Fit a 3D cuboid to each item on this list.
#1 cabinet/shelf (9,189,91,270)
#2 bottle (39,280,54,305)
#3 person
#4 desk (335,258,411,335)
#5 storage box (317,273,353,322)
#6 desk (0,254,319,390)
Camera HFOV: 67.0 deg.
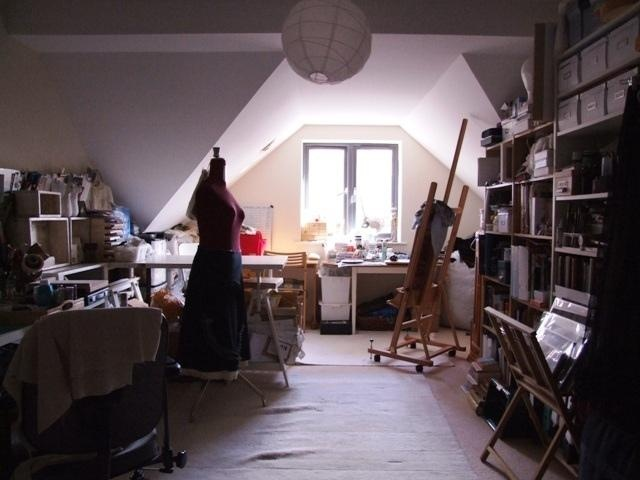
[{"bbox_3d":[-2.099,-0.072,3.753,0.192,0.598,0.632,1,3,3],"label":"cabinet/shelf"},{"bbox_3d":[-1.756,0.342,3.130,0.091,0.127,0.223,-7,15,-28],"label":"bottle"},{"bbox_3d":[-0.770,0.176,3.441,0.501,1.468,0.431,-2,12,-10],"label":"person"},{"bbox_3d":[0.597,0.634,5.610,0.729,0.773,0.780,0,1,1],"label":"desk"},{"bbox_3d":[0.175,0.642,5.346,0.427,0.642,0.425,1,-3,-1],"label":"storage box"},{"bbox_3d":[-0.882,0.769,4.275,1.693,1.263,0.935,0,5,3],"label":"desk"}]
